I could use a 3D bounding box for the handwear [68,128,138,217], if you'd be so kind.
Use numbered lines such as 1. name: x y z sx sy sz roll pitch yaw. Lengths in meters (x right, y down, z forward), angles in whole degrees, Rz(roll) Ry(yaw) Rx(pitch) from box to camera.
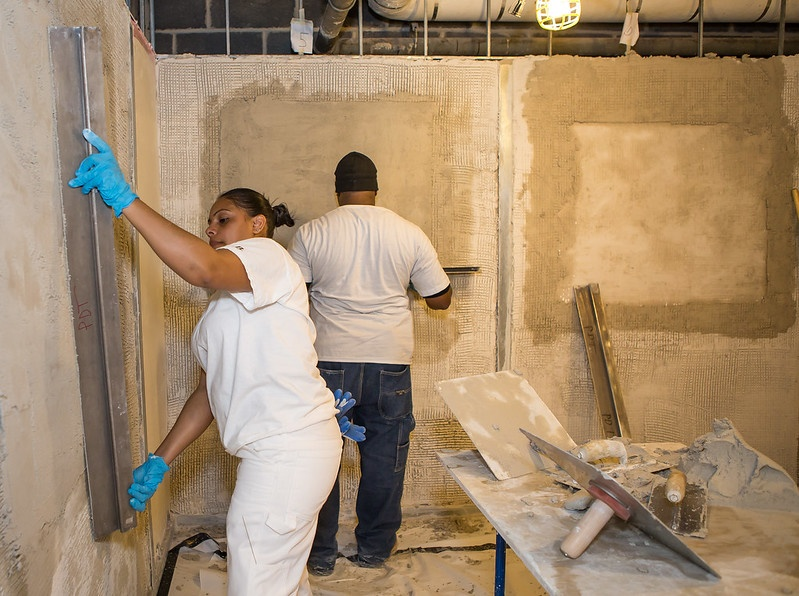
1. handwear: -0.977 -0.408 2.673 0.242 0.268 0.101 5 15 21

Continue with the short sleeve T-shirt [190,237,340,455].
1. short sleeve T-shirt: -0.525 0.213 3.059 0.461 0.704 0.700 -2 -23 -21

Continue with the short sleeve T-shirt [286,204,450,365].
1. short sleeve T-shirt: -0.157 -0.034 4.024 0.834 0.785 0.462 1 1 4

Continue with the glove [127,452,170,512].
1. glove: -0.922 0.660 3.021 0.123 0.216 0.088 38 -20 -16

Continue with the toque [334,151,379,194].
1. toque: -0.216 -0.624 4.005 0.210 0.193 0.303 3 15 10
